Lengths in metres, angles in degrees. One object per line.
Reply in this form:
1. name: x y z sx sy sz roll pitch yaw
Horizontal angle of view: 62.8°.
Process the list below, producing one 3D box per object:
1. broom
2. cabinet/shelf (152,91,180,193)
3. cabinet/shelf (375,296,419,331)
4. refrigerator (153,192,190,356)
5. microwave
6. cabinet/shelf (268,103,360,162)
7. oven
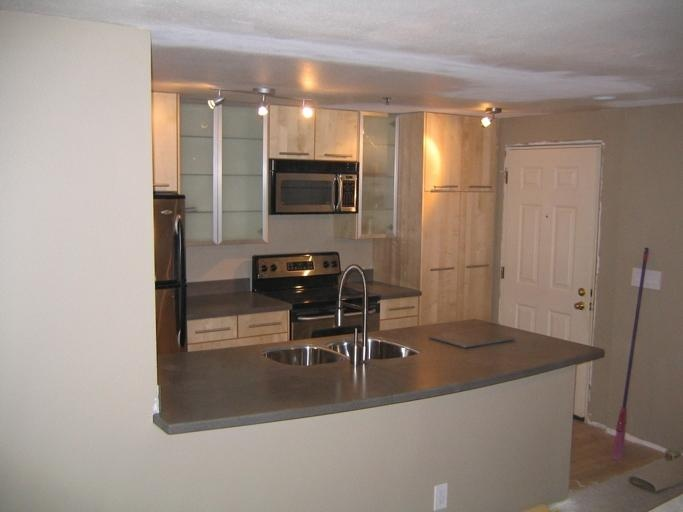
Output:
1. broom: 2.459 0.779 4.700 0.066 1.891 0.067 8 -5 29
2. cabinet/shelf: -1.401 -0.926 4.459 0.220 0.743 0.168 0 2 -12
3. cabinet/shelf: 0.516 0.522 5.459 0.432 0.396 0.288 -6 22 -15
4. refrigerator: -1.327 0.130 4.340 0.240 1.230 0.299 -3 10 -18
5. microwave: -0.272 -0.689 5.313 0.827 0.507 0.502 -2 18 -13
6. cabinet/shelf: -0.199 -1.116 5.160 0.905 0.448 0.320 5 10 13
7. oven: -0.068 0.582 4.847 0.657 0.440 0.451 -3 4 -32
